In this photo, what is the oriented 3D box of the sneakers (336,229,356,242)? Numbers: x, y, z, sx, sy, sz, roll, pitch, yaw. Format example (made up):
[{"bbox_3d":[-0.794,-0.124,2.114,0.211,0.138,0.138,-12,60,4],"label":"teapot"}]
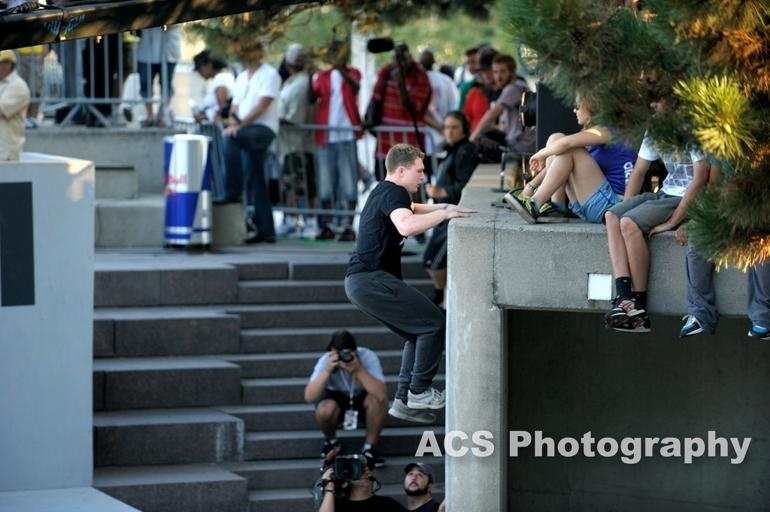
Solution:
[{"bbox_3d":[-0.488,-0.266,16.732,0.186,0.211,0.142,2,-9,4],"label":"sneakers"}]

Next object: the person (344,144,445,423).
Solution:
[{"bbox_3d":[0.164,0.256,12.201,1.011,2.589,0.535,0,-1,37],"label":"person"}]

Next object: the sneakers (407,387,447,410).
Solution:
[{"bbox_3d":[0.386,1.342,12.219,0.341,0.180,0.168,0,-1,-4],"label":"sneakers"}]

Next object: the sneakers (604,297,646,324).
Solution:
[{"bbox_3d":[2.049,0.472,11.396,0.346,0.254,0.174,-11,-39,-8],"label":"sneakers"}]

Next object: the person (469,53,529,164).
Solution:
[{"bbox_3d":[1.371,-1.734,16.734,0.842,1.810,0.660,-3,7,-45],"label":"person"}]

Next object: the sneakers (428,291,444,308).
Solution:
[{"bbox_3d":[0.562,0.490,14.314,0.149,0.183,0.152,1,0,-15],"label":"sneakers"}]

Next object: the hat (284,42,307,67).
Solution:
[{"bbox_3d":[-1.038,-2.418,15.563,0.236,0.192,0.237,46,-19,-23],"label":"hat"}]

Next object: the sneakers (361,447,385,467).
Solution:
[{"bbox_3d":[-0.109,2.049,13.164,0.267,0.194,0.130,7,10,21],"label":"sneakers"}]

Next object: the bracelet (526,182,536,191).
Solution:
[{"bbox_3d":[1.328,-0.639,11.994,0.057,0.033,0.076,11,6,-25],"label":"bracelet"}]

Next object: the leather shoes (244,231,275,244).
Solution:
[{"bbox_3d":[-1.518,-0.218,16.145,0.376,0.192,0.147,3,0,-5],"label":"leather shoes"}]

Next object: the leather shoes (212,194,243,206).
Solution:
[{"bbox_3d":[-1.888,-0.670,15.948,0.361,0.172,0.130,3,-3,-11],"label":"leather shoes"}]

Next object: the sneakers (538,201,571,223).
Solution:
[{"bbox_3d":[1.520,-0.395,11.971,0.315,0.203,0.196,1,-1,-12],"label":"sneakers"}]
